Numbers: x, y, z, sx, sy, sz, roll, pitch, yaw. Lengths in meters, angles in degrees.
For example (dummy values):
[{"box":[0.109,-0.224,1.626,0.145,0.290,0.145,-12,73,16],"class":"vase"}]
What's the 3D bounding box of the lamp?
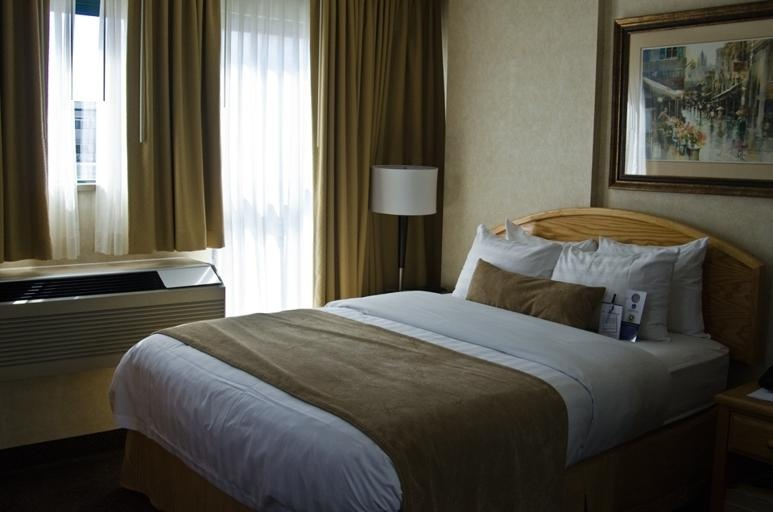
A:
[{"box":[0.110,-0.262,4.933,0.564,1.435,0.615,-5,20,-18],"class":"lamp"}]
